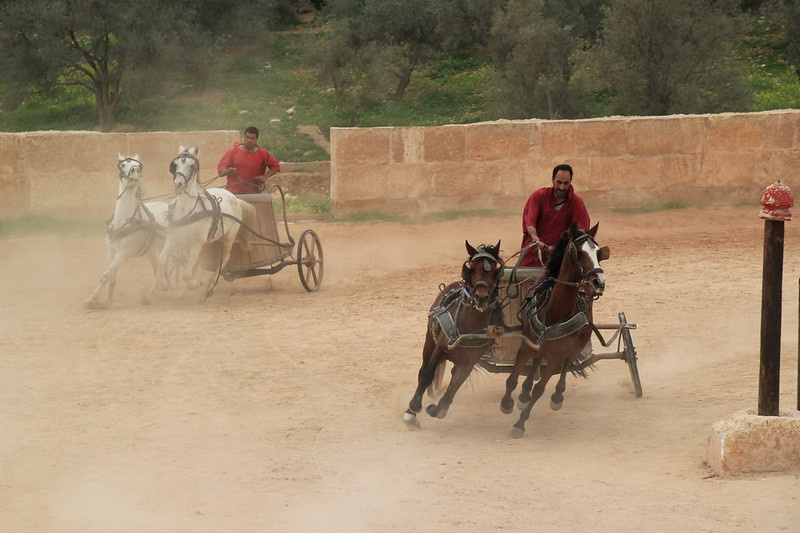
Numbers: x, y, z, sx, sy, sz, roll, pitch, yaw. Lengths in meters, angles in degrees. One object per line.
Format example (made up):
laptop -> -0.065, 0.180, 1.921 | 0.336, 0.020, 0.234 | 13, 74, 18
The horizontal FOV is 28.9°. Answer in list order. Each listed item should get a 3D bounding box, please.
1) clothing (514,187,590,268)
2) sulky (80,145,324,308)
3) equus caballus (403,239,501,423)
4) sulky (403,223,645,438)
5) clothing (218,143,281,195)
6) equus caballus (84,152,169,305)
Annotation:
clothing -> 3.536, -0.803, 35.503 | 1.519, 2.317, 1.485 | 9, 25, 7
sulky -> -5.176, -0.945, 40.293 | 4.974, 3.179, 4.847 | -3, -2, 30
equus caballus -> 1.308, 1.559, 34.868 | 2.111, 4.123, 0.713 | -2, 11, 5
sulky -> 3.120, 1.322, 37.067 | 3.654, 3.276, 5.752 | 14, -2, 2
clothing -> -4.048, -2.441, 40.600 | 1.703, 1.456, 0.810 | 6, 13, -15
equus caballus -> -7.011, -0.949, 39.525 | 2.280, 3.676, 1.880 | -5, 11, -12
